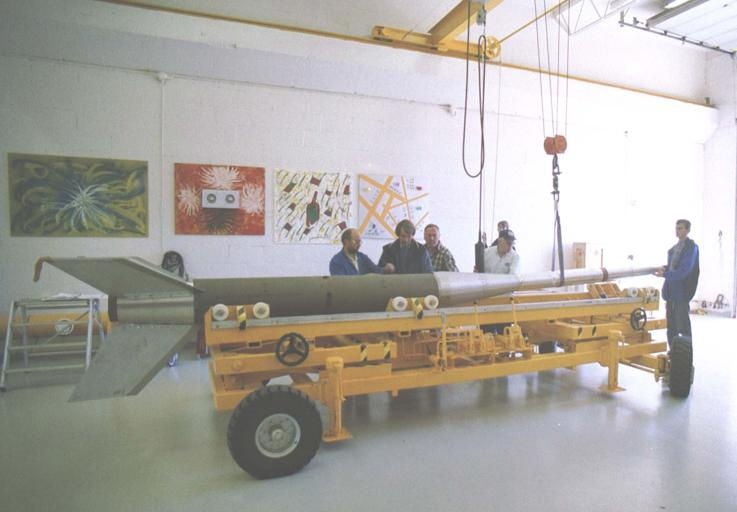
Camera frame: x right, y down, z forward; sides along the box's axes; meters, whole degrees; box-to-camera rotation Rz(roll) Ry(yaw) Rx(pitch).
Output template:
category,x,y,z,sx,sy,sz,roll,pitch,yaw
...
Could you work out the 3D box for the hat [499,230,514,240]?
category,x,y,z,sx,sy,sz,roll,pitch,yaw
hat,1.739,-0.270,7.059,0.184,0.133,0.204,0,1,16
